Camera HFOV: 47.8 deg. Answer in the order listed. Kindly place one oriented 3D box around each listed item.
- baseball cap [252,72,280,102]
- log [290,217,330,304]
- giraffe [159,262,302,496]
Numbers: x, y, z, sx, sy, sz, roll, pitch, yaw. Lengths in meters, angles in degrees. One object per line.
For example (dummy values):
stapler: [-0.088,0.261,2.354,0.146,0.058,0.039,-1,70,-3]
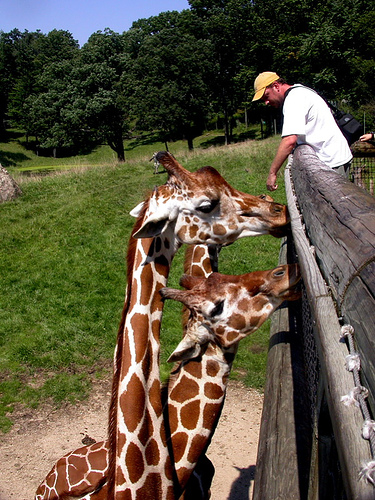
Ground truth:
baseball cap: [0.798,-1.700,4.400,0.264,0.273,0.356,0,16,19]
log: [0.440,0.065,1.547,0.064,0.060,0.471,-24,13,12]
giraffe: [0.191,0.637,2.077,0.654,1.175,0.456,-8,16,-8]
